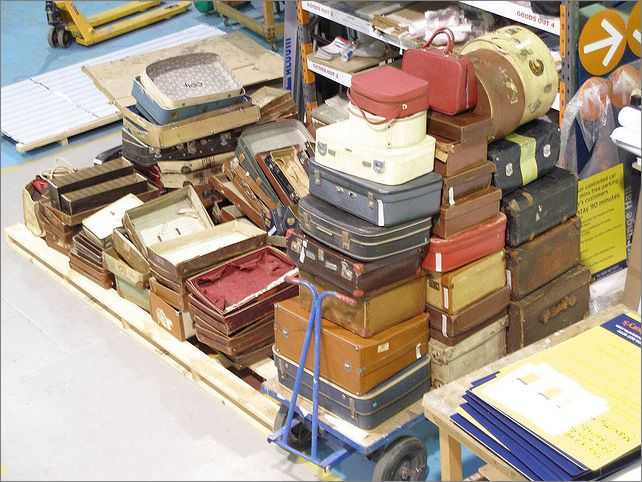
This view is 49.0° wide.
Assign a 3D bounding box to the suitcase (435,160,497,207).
[{"bbox_3d":[0.933,-0.366,4.458,0.377,0.195,0.266,-29,37,-26],"label":"suitcase"}]

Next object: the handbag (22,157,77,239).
[{"bbox_3d":[-2.666,-0.389,6.901,0.414,0.637,0.591,27,45,16],"label":"handbag"}]

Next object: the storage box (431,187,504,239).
[{"bbox_3d":[0.953,-0.176,4.500,0.442,0.172,0.305,-30,41,-27],"label":"storage box"}]

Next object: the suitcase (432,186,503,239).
[{"bbox_3d":[0.935,-0.171,4.493,0.442,0.183,0.305,-30,41,-27],"label":"suitcase"}]

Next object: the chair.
[{"bbox_3d":[1.487,0.637,4.643,0.767,1.129,2.736,22,46,31],"label":"chair"}]

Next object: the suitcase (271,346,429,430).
[{"bbox_3d":[0.166,0.987,4.601,0.561,0.151,0.591,22,37,35],"label":"suitcase"}]

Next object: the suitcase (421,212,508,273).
[{"bbox_3d":[0.934,0.042,4.618,0.476,0.171,0.354,-25,37,-24],"label":"suitcase"}]

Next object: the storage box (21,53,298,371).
[{"bbox_3d":[-1.368,-0.631,7.106,1.994,0.806,2.579,31,49,35],"label":"storage box"}]

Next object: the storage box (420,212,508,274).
[{"bbox_3d":[0.926,-0.029,4.570,0.471,0.167,0.362,-25,37,-24],"label":"storage box"}]

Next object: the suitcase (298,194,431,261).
[{"bbox_3d":[0.325,-0.106,4.396,0.480,0.122,0.471,-21,36,-39],"label":"suitcase"}]

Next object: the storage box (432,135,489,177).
[{"bbox_3d":[0.875,-0.580,4.359,0.246,0.172,0.328,-31,44,-29],"label":"storage box"}]

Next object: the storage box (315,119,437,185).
[{"bbox_3d":[0.343,-0.546,4.297,0.605,0.191,0.437,28,46,33],"label":"storage box"}]

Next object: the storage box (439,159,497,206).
[{"bbox_3d":[0.926,-0.360,4.456,0.372,0.191,0.260,-30,38,-27],"label":"storage box"}]

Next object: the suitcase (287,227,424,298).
[{"bbox_3d":[0.321,0.030,4.394,0.514,0.159,0.505,-21,37,-37],"label":"suitcase"}]

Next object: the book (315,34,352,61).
[{"bbox_3d":[0.108,-1.915,7.059,0.230,0.108,0.305,-33,40,-26],"label":"book"}]

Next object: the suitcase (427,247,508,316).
[{"bbox_3d":[0.969,0.290,4.631,0.608,0.319,0.364,-28,40,-30],"label":"suitcase"}]

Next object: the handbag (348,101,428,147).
[{"bbox_3d":[0.446,-0.661,4.203,0.295,0.111,0.293,-18,36,-28],"label":"handbag"}]
